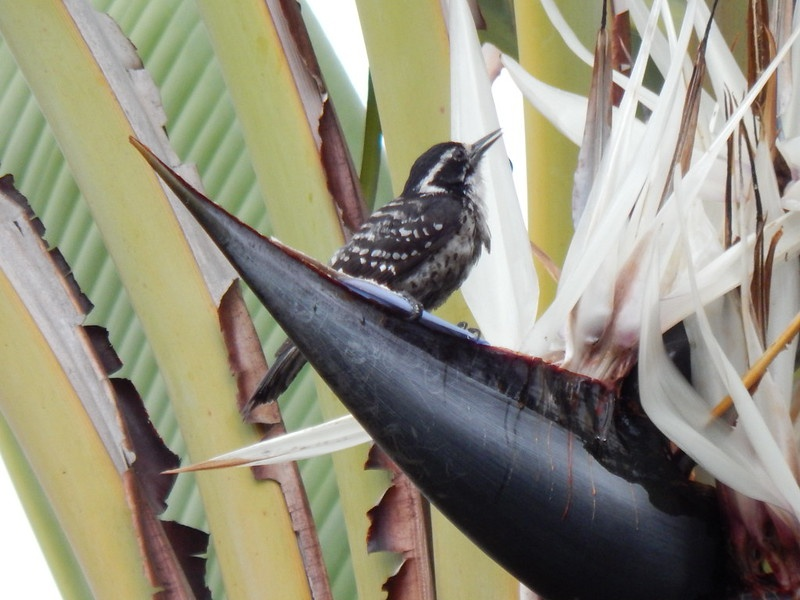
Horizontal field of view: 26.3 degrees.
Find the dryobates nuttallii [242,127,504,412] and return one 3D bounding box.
[{"bbox_3d":[-0.014,-0.020,1.752,0.245,0.314,0.134,-4,-32,-8],"label":"dryobates nuttallii"}]
